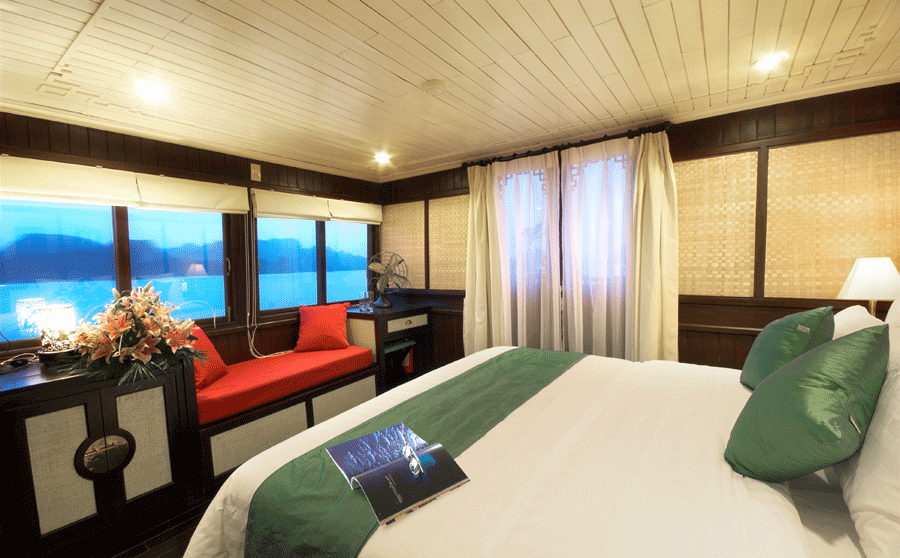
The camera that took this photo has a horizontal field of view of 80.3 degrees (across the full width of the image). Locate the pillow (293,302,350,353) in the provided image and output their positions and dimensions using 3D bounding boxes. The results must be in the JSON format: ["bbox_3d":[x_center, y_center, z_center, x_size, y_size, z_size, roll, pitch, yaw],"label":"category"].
[{"bbox_3d":[-1.371,0.532,5.672,0.506,0.458,0.183,-4,-42,-11],"label":"pillow"}]

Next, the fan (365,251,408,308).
[{"bbox_3d":[-0.850,-0.005,6.693,0.549,0.628,0.315,14,-10,-26],"label":"fan"}]

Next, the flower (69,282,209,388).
[{"bbox_3d":[-2.436,0.433,4.225,0.856,0.463,0.826,3,2,12],"label":"flower"}]

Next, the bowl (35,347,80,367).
[{"bbox_3d":[-2.997,0.599,4.095,0.189,0.068,0.182,2,1,0],"label":"bowl"}]

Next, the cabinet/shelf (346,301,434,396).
[{"bbox_3d":[-0.823,0.611,6.354,0.958,1.192,1.271,0,3,24],"label":"cabinet/shelf"}]

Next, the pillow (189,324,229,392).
[{"bbox_3d":[-2.162,0.719,4.754,0.160,0.476,0.520,-13,23,3],"label":"pillow"}]
